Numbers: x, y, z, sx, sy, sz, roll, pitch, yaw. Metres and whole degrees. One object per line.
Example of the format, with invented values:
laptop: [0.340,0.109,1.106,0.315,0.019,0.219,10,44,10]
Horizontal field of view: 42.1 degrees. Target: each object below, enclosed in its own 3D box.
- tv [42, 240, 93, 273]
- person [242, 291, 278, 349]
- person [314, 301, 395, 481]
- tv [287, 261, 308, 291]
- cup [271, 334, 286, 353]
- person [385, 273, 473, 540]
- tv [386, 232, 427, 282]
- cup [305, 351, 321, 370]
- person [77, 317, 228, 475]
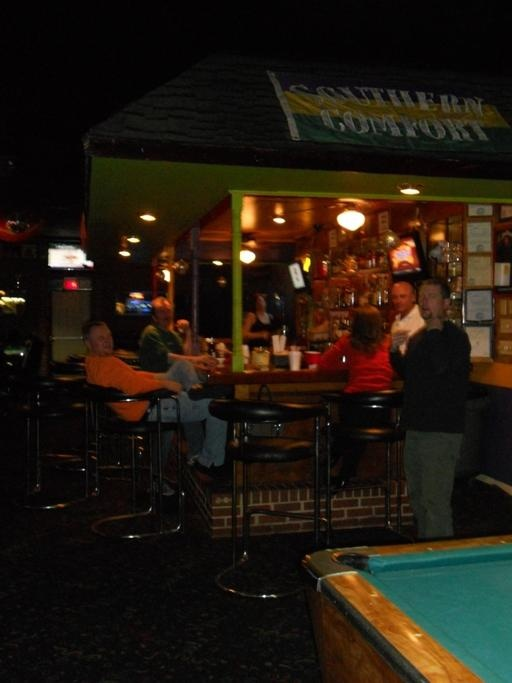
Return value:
tv: [-4.773,-2.108,16.907,1.159,0.675,0.471,0,2,-4]
person: [0.068,-0.319,10.396,0.546,0.816,0.844,0,2,-1]
person: [0.820,0.410,5.590,0.639,1.415,0.523,3,15,1]
tv: [0.600,-0.939,9.671,0.202,0.407,0.492,0,2,-3]
cup: [0.226,0.031,6.217,0.165,0.256,0.150,1,3,0]
person: [1.152,0.436,4.306,0.424,1.663,0.320,0,2,14]
tv: [1.739,-0.963,7.604,0.100,0.512,0.720,-19,2,-11]
cup: [0.485,0.170,5.791,0.150,0.151,0.143,1,3,0]
person: [-0.826,0.468,5.632,1.166,1.328,0.661,-8,1,-6]
